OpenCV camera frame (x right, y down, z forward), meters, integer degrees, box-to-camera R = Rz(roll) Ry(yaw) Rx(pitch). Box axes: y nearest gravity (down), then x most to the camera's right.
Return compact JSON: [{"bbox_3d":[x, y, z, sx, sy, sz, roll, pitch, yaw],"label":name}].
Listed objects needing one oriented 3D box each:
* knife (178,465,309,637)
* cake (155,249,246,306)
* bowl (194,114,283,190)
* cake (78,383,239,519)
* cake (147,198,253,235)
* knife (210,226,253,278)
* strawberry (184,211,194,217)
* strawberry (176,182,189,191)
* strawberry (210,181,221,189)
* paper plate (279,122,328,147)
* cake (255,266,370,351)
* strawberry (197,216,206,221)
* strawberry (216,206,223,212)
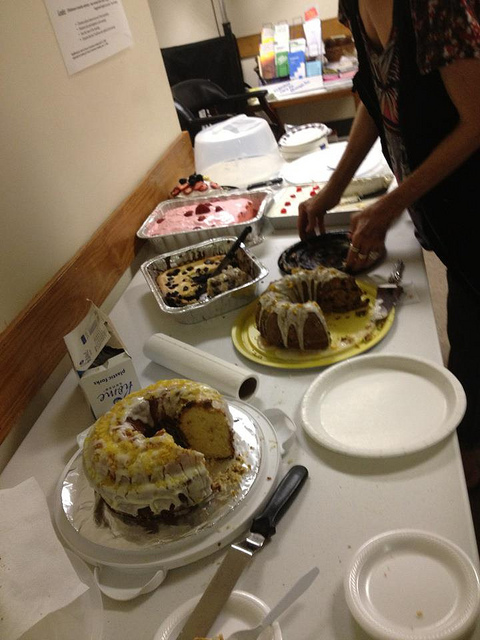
[{"bbox_3d":[0.031,0.283,0.674,0.059,0.026,0.434,11,23,20],"label":"knife"},{"bbox_3d":[-0.118,-0.105,1.440,0.219,0.068,0.194,-22,31,5],"label":"cake"},{"bbox_3d":[0.014,-0.748,2.174,0.386,0.247,0.397,-3,37,3],"label":"bowl"},{"bbox_3d":[-0.141,0.197,0.786,0.247,0.094,0.287,-10,21,-1],"label":"cake"},{"bbox_3d":[-0.136,-0.372,1.694,0.308,0.082,0.223,-26,30,-36],"label":"cake"},{"bbox_3d":[-0.026,-0.206,1.439,0.035,0.216,0.017,29,6,-21],"label":"knife"},{"bbox_3d":[-0.191,-0.396,1.736,0.023,0.007,0.024,16,41,20],"label":"strawberry"},{"bbox_3d":[-0.243,-0.570,1.964,0.047,0.015,0.049,-5,36,10],"label":"strawberry"},{"bbox_3d":[-0.099,-0.565,1.966,0.036,0.018,0.042,9,15,-7],"label":"strawberry"},{"bbox_3d":[0.310,-0.912,2.299,0.238,0.037,0.296,-3,37,24],"label":"paper plate"},{"bbox_3d":[0.158,-0.039,1.092,0.190,0.096,0.266,2,29,24],"label":"cake"},{"bbox_3d":[-0.138,-0.367,1.680,0.028,0.007,0.026,-6,36,20],"label":"strawberry"},{"bbox_3d":[-0.078,-0.411,1.723,0.017,0.017,0.018,14,28,12],"label":"strawberry"}]
